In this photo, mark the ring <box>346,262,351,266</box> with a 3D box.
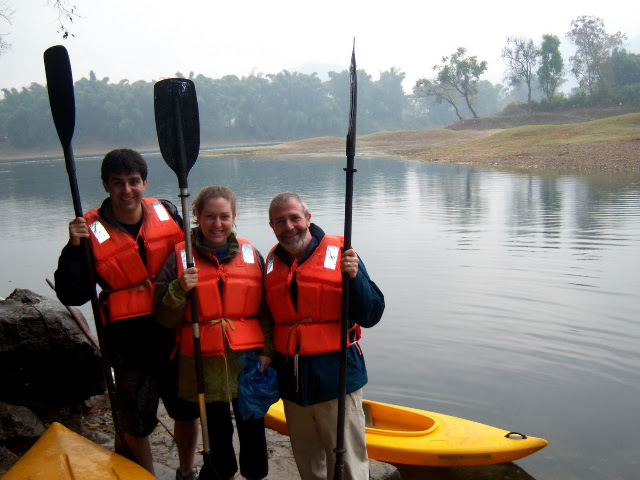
[{"bbox_3d":[0.221,0.187,4.827,0.050,0.036,0.004,-2,9,6],"label":"ring"}]

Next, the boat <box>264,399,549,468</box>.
[{"bbox_3d":[0.842,1.926,5.978,2.508,0.448,0.814,5,16,18],"label":"boat"}]

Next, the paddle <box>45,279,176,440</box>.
[{"bbox_3d":[-1.948,1.103,5.604,2.595,0.372,0.093,44,23,25],"label":"paddle"}]

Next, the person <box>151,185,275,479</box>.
[{"bbox_3d":[-0.886,0.901,5.202,0.936,2.695,0.682,-4,9,-7],"label":"person"}]
